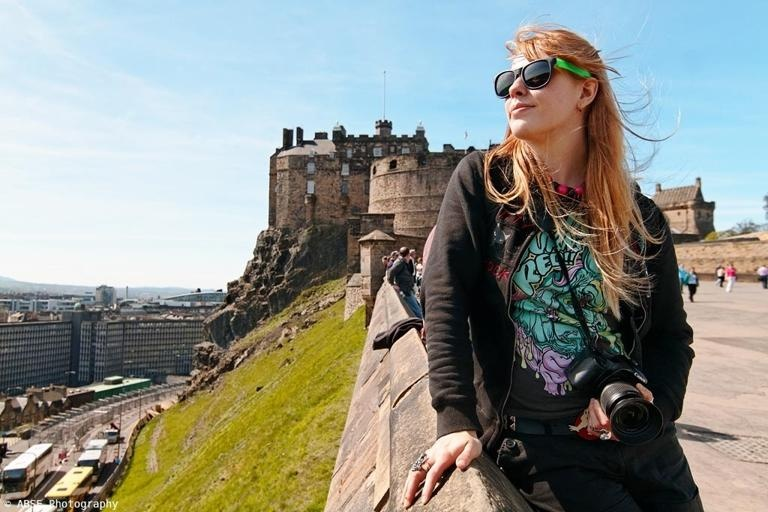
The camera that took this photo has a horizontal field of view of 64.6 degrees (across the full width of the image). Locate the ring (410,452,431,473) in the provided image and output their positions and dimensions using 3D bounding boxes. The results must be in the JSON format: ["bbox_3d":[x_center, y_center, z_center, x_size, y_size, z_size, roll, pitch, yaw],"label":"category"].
[{"bbox_3d":[0.167,0.974,2.863,0.056,0.098,0.023,30,-5,40],"label":"ring"}]

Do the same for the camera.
[{"bbox_3d":[1.194,0.719,3.097,0.452,0.290,0.504,-18,12,-3],"label":"camera"}]

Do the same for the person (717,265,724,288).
[{"bbox_3d":[11.109,0.705,20.075,0.232,0.716,1.350,-2,-1,29],"label":"person"}]
